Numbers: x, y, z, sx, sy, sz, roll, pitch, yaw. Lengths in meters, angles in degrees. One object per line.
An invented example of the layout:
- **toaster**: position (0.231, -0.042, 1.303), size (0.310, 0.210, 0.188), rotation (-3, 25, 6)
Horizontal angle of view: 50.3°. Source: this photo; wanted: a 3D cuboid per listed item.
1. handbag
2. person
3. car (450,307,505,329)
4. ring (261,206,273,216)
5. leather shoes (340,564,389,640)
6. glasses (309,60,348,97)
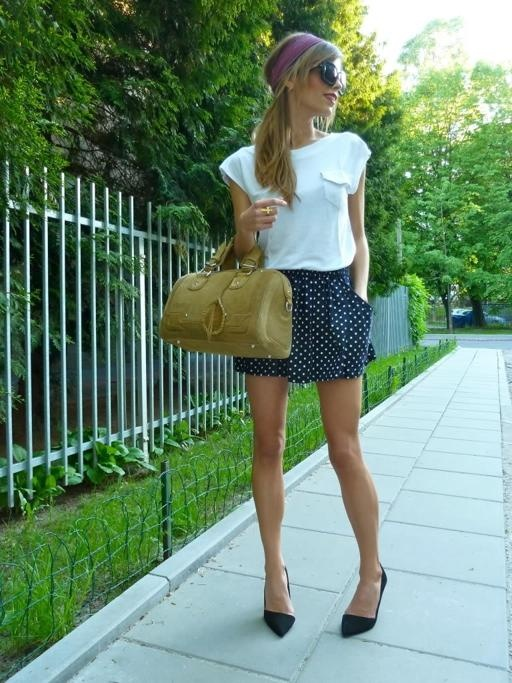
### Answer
- **handbag**: position (-0.082, -0.131, 1.617), size (0.373, 0.403, 0.205), rotation (2, -16, 26)
- **person**: position (0.150, -0.024, 1.717), size (0.511, 1.850, 0.281), rotation (0, 1, -13)
- **car**: position (16.240, -1.779, 40.527), size (1.570, 1.451, 6.181), rotation (0, 0, -7)
- **ring**: position (0.029, -0.352, 1.479), size (0.028, 0.023, 0.012), rotation (0, 1, 3)
- **leather shoes**: position (0.363, 0.865, 1.787), size (0.083, 0.119, 0.282), rotation (1, 23, 27)
- **glasses**: position (0.223, -0.777, 1.616), size (0.075, 0.036, 0.077), rotation (37, 9, 34)
